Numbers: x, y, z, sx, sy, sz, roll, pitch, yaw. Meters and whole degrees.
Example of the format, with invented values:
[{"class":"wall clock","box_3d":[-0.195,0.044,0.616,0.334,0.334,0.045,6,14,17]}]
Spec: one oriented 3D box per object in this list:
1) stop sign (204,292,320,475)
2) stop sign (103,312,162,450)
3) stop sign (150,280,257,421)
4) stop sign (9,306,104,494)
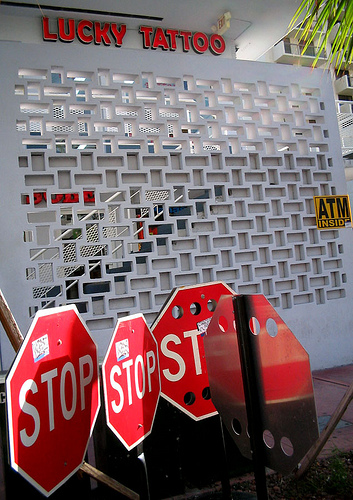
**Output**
[{"class":"stop sign","box_3d":[0.233,0.393,1.282,0.048,0.503,0.473,-3,-6,-31]},{"class":"stop sign","box_3d":[-0.139,0.416,1.381,0.013,0.409,0.386,16,-40,-37]},{"class":"stop sign","box_3d":[0.109,0.383,1.633,0.515,0.529,0.064,-20,-19,34]},{"class":"stop sign","box_3d":[-0.302,0.389,1.088,0.053,0.477,0.422,-6,3,11]}]
